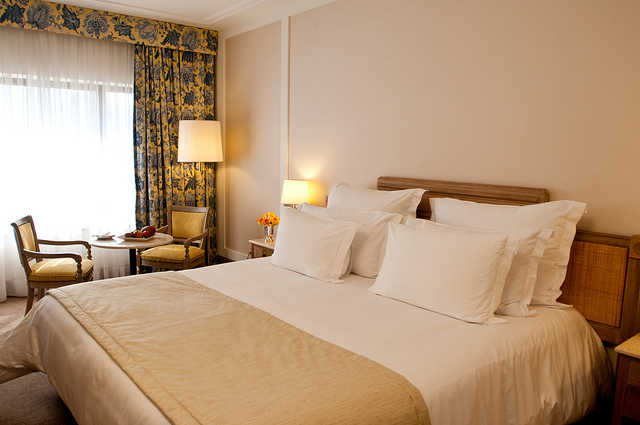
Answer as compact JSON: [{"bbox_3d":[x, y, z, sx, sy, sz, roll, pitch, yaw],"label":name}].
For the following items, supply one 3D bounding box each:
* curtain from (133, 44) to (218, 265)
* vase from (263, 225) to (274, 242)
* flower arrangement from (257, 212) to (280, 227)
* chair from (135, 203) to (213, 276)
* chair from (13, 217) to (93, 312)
[{"bbox_3d":[-2.214,-0.936,6.165,0.923,2.714,0.444,-4,10,-32],"label":"curtain"},{"bbox_3d":[-0.646,0.266,5.226,0.176,0.267,0.174,-1,4,-10],"label":"vase"},{"bbox_3d":[-0.608,0.094,5.167,0.212,0.103,0.230,2,8,3],"label":"flower arrangement"},{"bbox_3d":[-1.876,0.470,5.558,0.735,1.025,0.766,4,11,10],"label":"chair"},{"bbox_3d":[-2.947,0.582,4.796,0.787,0.959,0.760,5,10,-3],"label":"chair"}]
